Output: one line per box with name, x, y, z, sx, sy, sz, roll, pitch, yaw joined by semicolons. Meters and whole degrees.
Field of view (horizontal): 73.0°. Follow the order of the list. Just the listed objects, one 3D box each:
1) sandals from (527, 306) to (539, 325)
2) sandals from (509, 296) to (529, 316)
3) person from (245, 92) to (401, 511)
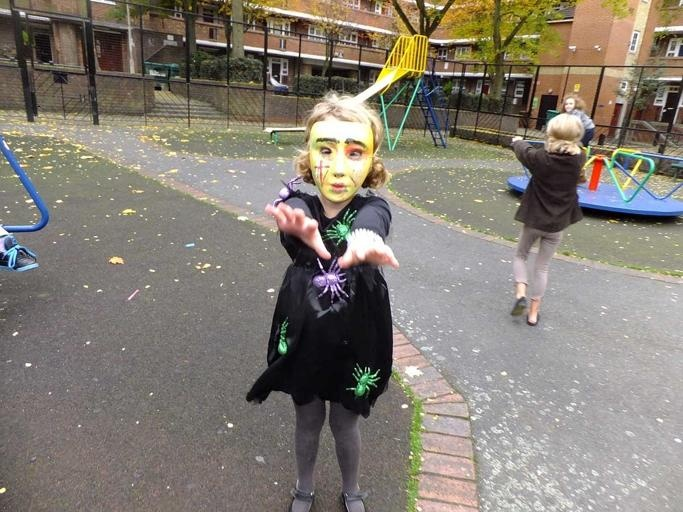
sandals;1.853;0.594;4.486;0.076;0.094;0.245;-2;9;21
sandals;1.749;0.500;4.562;0.116;0.247;0.108;17;49;15
person;-0.094;0.342;2.477;0.734;2.223;0.881;2;23;-10
